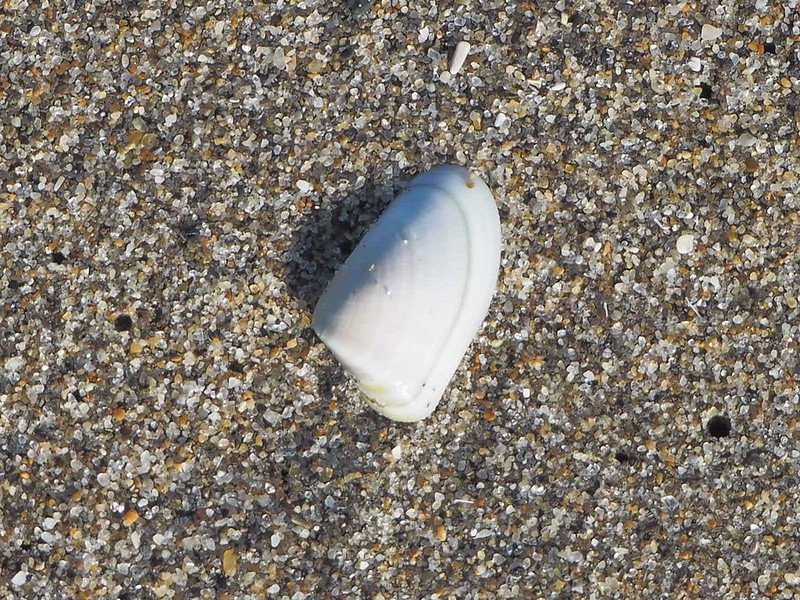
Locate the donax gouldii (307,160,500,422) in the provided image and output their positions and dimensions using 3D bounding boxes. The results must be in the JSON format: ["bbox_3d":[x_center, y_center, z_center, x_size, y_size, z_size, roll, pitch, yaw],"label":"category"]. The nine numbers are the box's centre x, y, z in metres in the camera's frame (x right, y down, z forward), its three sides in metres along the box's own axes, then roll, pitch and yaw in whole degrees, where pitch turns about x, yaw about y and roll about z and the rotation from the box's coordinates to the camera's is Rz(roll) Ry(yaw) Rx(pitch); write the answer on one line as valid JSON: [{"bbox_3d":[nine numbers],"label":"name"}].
[{"bbox_3d":[0.034,-0.020,3.483,0.417,0.193,0.631,28,98,6],"label":"donax gouldii"}]
